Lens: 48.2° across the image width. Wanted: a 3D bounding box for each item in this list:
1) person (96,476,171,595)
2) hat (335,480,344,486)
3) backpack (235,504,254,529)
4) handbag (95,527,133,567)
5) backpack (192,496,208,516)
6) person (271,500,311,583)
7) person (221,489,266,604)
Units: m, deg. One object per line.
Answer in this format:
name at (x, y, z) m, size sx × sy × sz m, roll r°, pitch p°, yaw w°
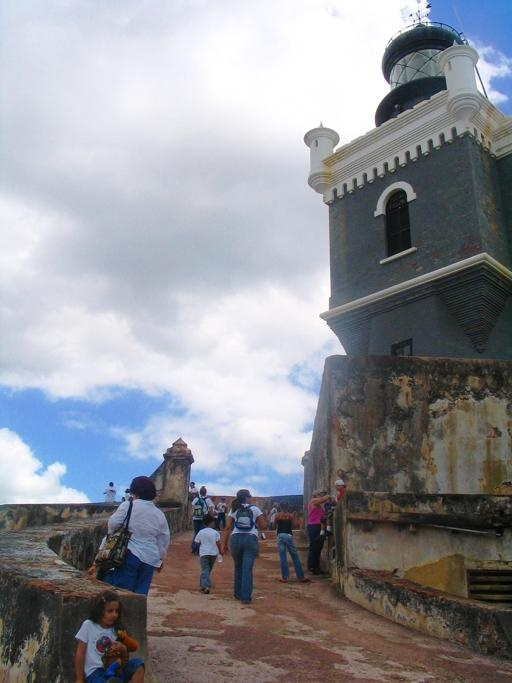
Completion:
person at (-0.849, 1.529, 4.292) m, size 0.499 × 1.081 × 0.319 m, roll 9°, pitch 5°, yaw -9°
hat at (1.218, 2.028, 8.224) m, size 0.077 × 0.103 × 0.092 m, roll 23°, pitch -27°, yaw 19°
backpack at (-0.126, 2.035, 6.663) m, size 0.170 × 0.235 × 0.233 m, roll -2°, pitch 3°, yaw 3°
handbag at (-1.015, 1.474, 4.056) m, size 0.200 × 0.271 × 0.174 m, roll 3°, pitch -15°, yaw 3°
backpack at (-0.989, 2.972, 10.311) m, size 0.278 × 0.378 × 0.359 m, roll 1°, pitch -10°, yaw 0°
person at (0.496, 2.807, 8.012) m, size 0.494 × 1.028 × 0.897 m, roll 3°, pitch -15°, yaw 3°
person at (-0.150, 2.392, 6.807) m, size 0.446 × 1.207 × 1.236 m, roll 4°, pitch -15°, yaw -2°
